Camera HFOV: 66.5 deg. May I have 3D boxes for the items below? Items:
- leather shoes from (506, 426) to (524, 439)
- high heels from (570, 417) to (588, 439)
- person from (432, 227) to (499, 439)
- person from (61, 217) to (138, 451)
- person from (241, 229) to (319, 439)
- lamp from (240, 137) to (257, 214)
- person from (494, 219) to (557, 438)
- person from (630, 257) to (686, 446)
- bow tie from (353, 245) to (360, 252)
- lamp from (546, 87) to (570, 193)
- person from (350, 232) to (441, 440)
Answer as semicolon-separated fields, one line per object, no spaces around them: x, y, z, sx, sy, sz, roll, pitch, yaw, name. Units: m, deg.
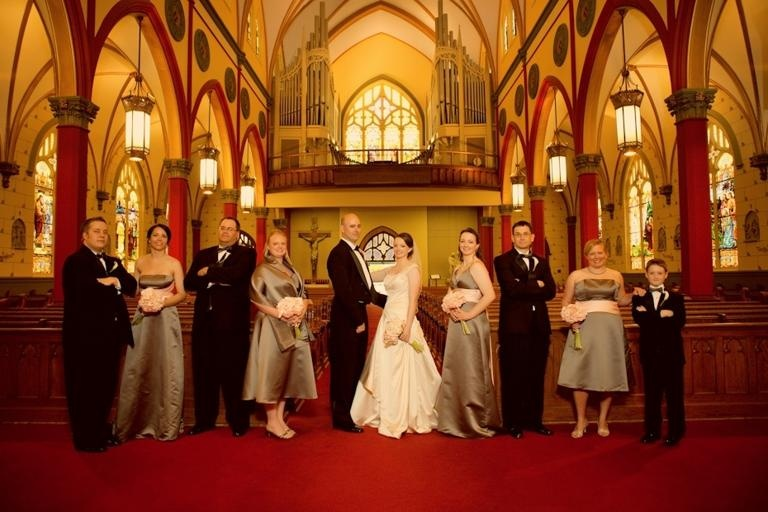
1.665;2.266;7.508;0.175;0.052;0.111;5;2;40;leather shoes
2.538;2.211;7.619;0.173;0.242;0.423;-2;-4;29;high heels
1.071;0.981;7.572;0.769;2.677;0.372;0;-4;12;person
-3.570;0.958;7.286;0.794;2.894;0.281;3;-4;-33;person
-1.325;0.783;7.512;0.888;2.141;0.429;1;-4;-16;person
-3.930;-2.123;16.825;0.437;1.583;0.408;3;18;-10;lamp
1.819;1.057;7.602;0.750;2.505;0.399;0;-4;9;person
3.501;1.208;7.453;0.605;2.307;0.345;-1;-4;18;person
-0.371;-0.094;7.911;0.073;0.028;0.091;20;6;-18;bow tie
4.116;-2.804;13.900;0.582;2.413;0.571;-4;6;14;lamp
0.189;1.023;7.745;1.117;2.642;0.473;1;-3;-4;person
